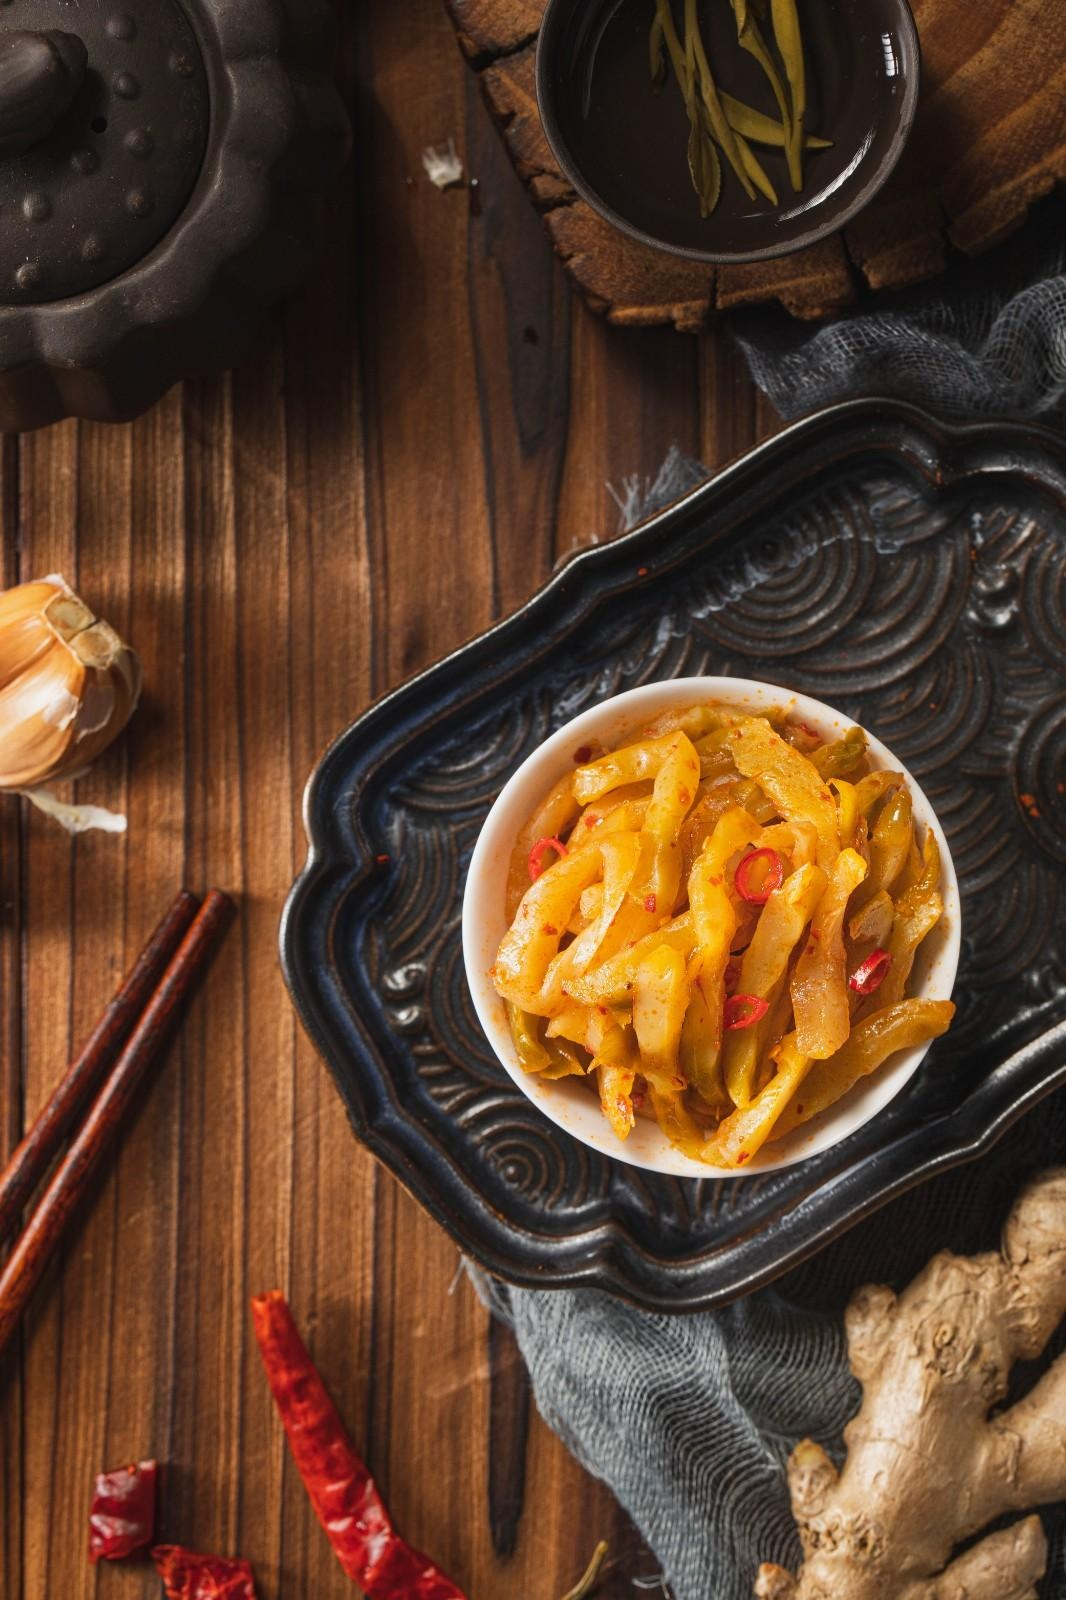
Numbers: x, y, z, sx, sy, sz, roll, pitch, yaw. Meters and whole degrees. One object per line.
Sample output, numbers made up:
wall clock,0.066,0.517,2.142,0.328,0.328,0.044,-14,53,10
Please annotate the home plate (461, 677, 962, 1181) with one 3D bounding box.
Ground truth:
home plate,0.116,0.120,2.042,0.554,0.193,0.522,1,97,7
